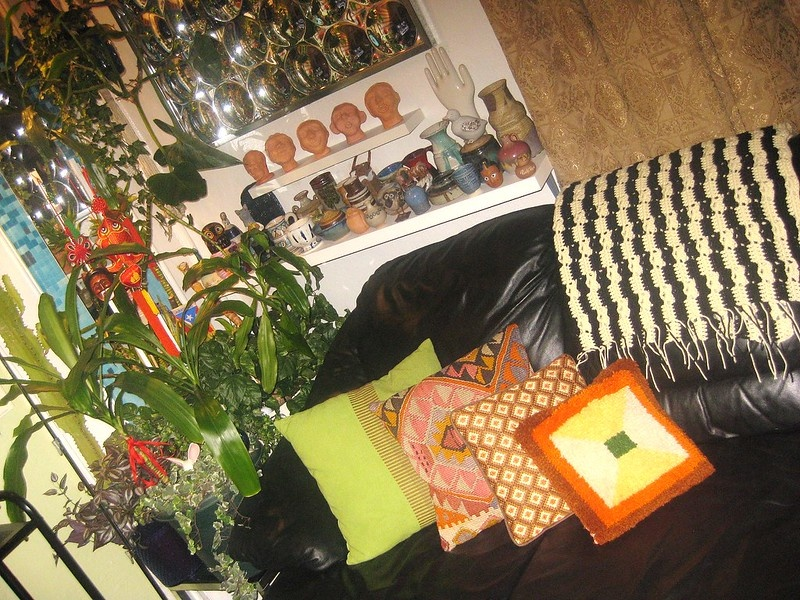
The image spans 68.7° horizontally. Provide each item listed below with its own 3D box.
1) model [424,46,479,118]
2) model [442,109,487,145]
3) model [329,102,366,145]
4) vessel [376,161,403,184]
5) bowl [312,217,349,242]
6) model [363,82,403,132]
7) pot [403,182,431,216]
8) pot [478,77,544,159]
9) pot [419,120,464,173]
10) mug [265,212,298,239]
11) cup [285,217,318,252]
[{"bbox_3d":[0.197,-0.814,2.207,0.143,0.227,0.101,-25,9,12],"label":"model"},{"bbox_3d":[0.256,-0.662,2.221,0.109,0.115,0.144,-43,40,-23],"label":"model"},{"bbox_3d":[-0.206,-0.715,2.339,0.138,0.165,0.105,-19,-24,-6],"label":"model"},{"bbox_3d":[-0.040,-0.515,2.353,0.090,0.036,0.087,-47,21,-26],"label":"vessel"},{"bbox_3d":[-0.288,-0.278,2.379,0.105,0.047,0.091,-20,20,20],"label":"bowl"},{"bbox_3d":[-0.060,-0.764,2.284,0.130,0.190,0.114,-22,6,16],"label":"model"},{"bbox_3d":[0.069,-0.388,2.213,0.070,0.107,0.066,-32,25,17],"label":"pot"},{"bbox_3d":[0.461,-0.696,2.188,0.178,0.304,0.189,-22,34,16],"label":"pot"},{"bbox_3d":[0.163,-0.580,2.222,0.142,0.212,0.130,-26,20,10],"label":"pot"},{"bbox_3d":[-0.505,-0.319,2.460,0.129,0.092,0.083,-39,9,14],"label":"mug"},{"bbox_3d":[-0.403,-0.264,2.469,0.128,0.107,0.112,-42,15,-21],"label":"cup"}]
